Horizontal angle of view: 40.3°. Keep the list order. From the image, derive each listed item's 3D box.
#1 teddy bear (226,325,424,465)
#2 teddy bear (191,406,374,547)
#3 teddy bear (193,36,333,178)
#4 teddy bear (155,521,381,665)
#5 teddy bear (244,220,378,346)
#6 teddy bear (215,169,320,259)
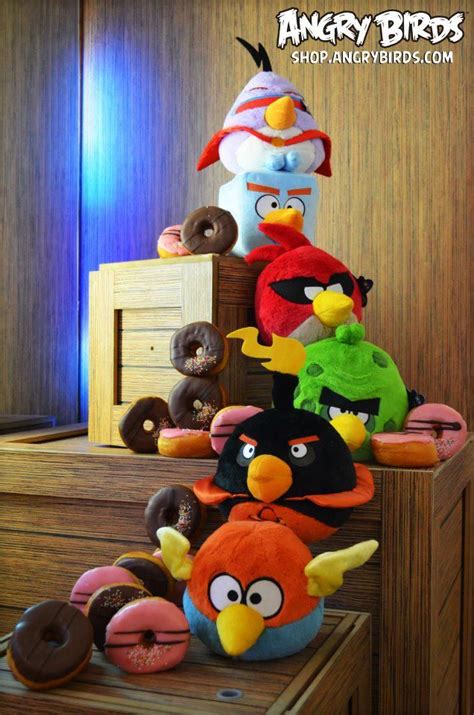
[{"bbox_3d":[0.199,0.092,1.292,0.377,0.295,0.228,7,-8,-21],"label":"teddy bear"},{"bbox_3d":[0.076,0.173,0.986,0.284,0.206,0.213,0,-6,20],"label":"teddy bear"},{"bbox_3d":[0.077,-0.673,1.685,0.329,0.372,0.250,0,7,2],"label":"teddy bear"},{"bbox_3d":[0.022,0.294,0.837,0.258,0.147,0.187,-1,-13,12],"label":"teddy bear"},{"bbox_3d":[0.121,-0.134,1.440,0.248,0.305,0.293,-2,-5,-40],"label":"teddy bear"},{"bbox_3d":[0.092,-0.366,1.699,0.270,0.204,0.280,4,6,39],"label":"teddy bear"}]
